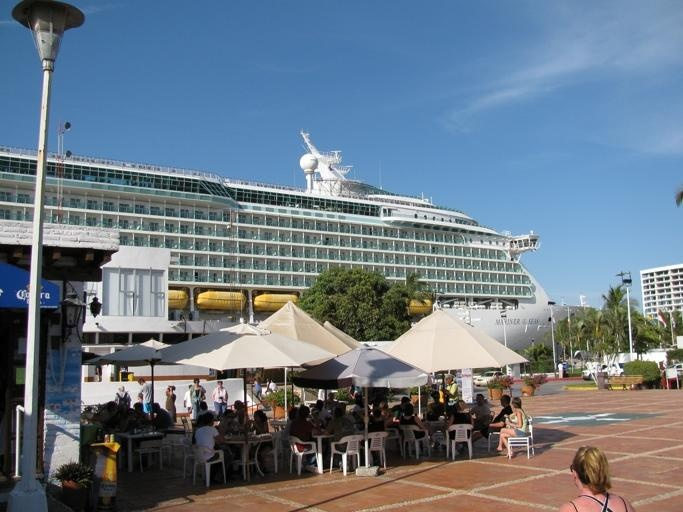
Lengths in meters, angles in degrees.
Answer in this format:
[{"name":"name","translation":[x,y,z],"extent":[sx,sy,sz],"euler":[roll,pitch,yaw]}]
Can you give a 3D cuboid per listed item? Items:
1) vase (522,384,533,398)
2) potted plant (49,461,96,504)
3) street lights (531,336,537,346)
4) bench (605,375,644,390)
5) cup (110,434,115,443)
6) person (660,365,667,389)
[{"name":"vase","translation":[9.332,6.789,36.900],"extent":[0.549,0.436,0.548],"euler":[-1,-6,-12]},{"name":"potted plant","translation":[-4.885,4.148,13.471],"extent":[0.663,0.709,0.670],"euler":[-2,-6,9]},{"name":"street lights","translation":[18.519,8.248,71.280],"extent":[0.511,1.101,0.554],"euler":[-9,17,-25]},{"name":"bench","translation":[14.857,6.645,38.519],"extent":[1.146,0.773,2.187],"euler":[0,-12,-15]},{"name":"cup","translation":[-4.332,3.421,13.724],"extent":[0.125,0.149,0.129],"euler":[1,-7,0]},{"name":"person","translation":[16.710,6.358,37.982],"extent":[0.340,0.990,1.341],"euler":[-7,-12,23]}]
